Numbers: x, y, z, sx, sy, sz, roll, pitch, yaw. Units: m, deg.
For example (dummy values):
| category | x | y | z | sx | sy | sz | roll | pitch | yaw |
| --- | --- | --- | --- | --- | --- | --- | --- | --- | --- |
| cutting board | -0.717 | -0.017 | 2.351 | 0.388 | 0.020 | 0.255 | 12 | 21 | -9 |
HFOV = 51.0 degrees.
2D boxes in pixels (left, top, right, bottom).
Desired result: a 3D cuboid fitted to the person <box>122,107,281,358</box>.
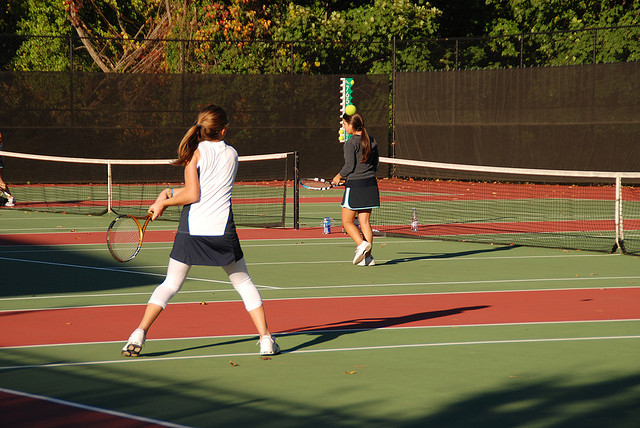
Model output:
| category | x | y | z | sx | sy | sz | roll | pitch | yaw |
| --- | --- | --- | --- | --- | --- | --- | --- | --- | --- |
| person | -1.192 | 0.210 | 7.013 | 1.489 | 2.616 | 0.380 | -1 | 9 | -6 |

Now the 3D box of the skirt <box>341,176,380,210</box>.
| category | x | y | z | sx | sy | sz | roll | pitch | yaw |
| --- | --- | --- | --- | --- | --- | --- | --- | --- | --- |
| skirt | 0.690 | -0.355 | 11.449 | 0.615 | 0.565 | 0.355 | 0 | 9 | 1 |
